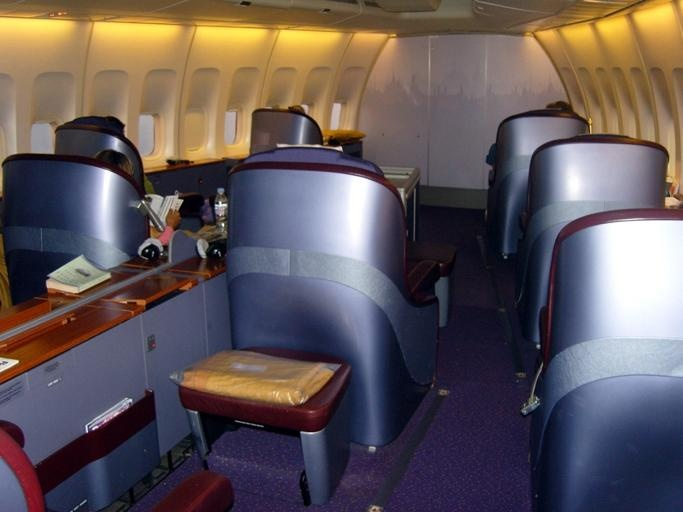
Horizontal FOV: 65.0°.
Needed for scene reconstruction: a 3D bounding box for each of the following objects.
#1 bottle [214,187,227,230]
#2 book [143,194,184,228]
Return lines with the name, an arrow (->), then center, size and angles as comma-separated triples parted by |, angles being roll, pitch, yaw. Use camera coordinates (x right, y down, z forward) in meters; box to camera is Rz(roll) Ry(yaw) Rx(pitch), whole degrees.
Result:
bottle -> -0.880, -0.336, 3.947 | 0.098, 0.333, 0.100 | -1, 4, 0
book -> -1.148, -0.301, 3.432 | 0.181, 0.250, 0.087 | 3, -11, -14
